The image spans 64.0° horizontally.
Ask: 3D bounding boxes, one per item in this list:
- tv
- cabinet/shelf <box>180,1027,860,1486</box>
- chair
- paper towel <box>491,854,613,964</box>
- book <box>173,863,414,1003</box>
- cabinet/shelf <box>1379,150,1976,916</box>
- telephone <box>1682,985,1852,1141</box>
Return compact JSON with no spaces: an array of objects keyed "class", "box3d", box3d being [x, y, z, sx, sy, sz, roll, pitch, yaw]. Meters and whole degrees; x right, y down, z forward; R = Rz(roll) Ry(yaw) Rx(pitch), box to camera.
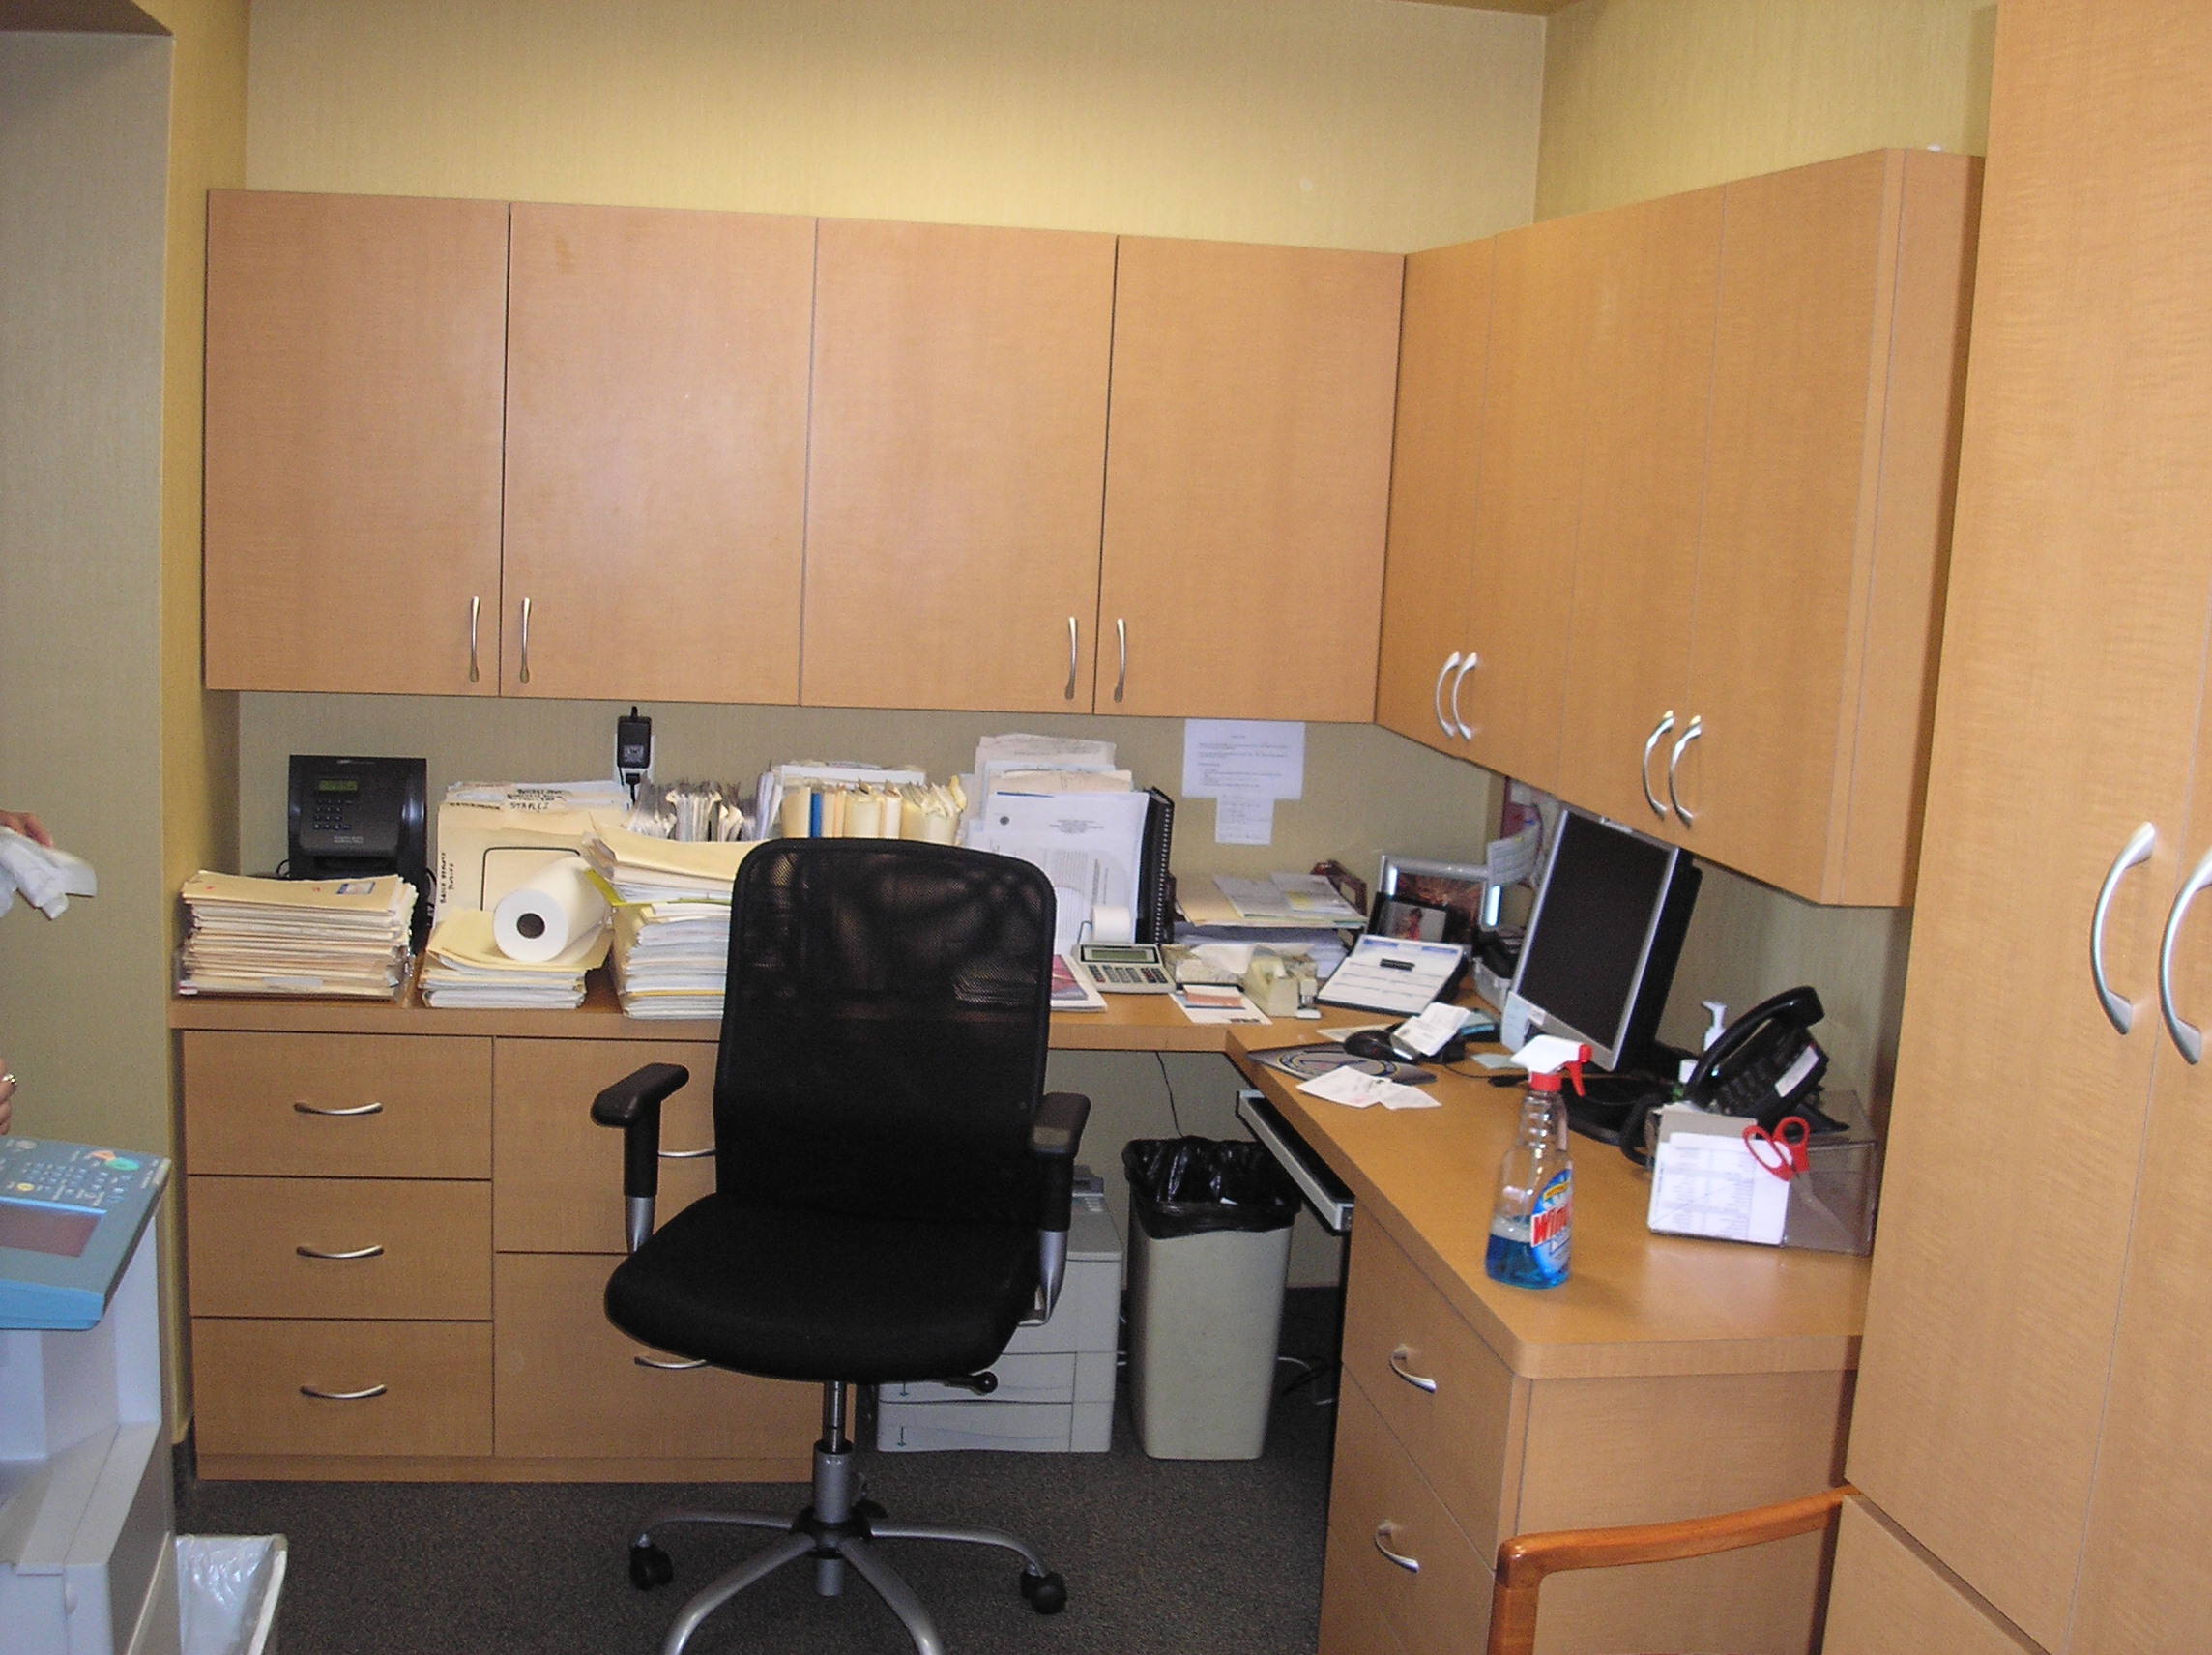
[{"class":"tv","box3d":[0.902,0.209,3.171,0.134,0.410,0.407,11,11,-18]},{"class":"cabinet/shelf","box3d":[-1.131,0.756,3.276,0.915,0.666,0.351,0,1,-3]},{"class":"chair","box3d":[-0.455,0.457,3.029,0.808,0.837,0.527,3,8,5]},{"class":"paper towel","box3d":[-1.130,0.159,3.440,0.137,0.211,0.218,-1,15,-16]},{"class":"book","box3d":[-1.542,0.213,3.313,0.290,0.130,0.283,2,9,-7]},{"class":"cabinet/shelf","box3d":[0.904,-0.473,2.800,0.291,0.943,1.456,1,10,-12]},{"class":"telephone","box3d":[1.050,0.380,2.834,0.250,0.253,0.189,0,0,33]}]
